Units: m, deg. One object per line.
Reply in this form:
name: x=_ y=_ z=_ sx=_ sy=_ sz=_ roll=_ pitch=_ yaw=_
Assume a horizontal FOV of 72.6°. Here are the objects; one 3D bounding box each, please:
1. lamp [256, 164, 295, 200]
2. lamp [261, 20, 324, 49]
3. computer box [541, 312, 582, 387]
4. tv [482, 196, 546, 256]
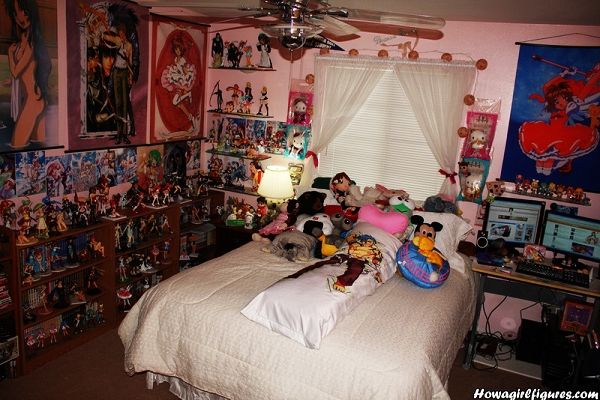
lamp: x=-0.323 y=-0.253 z=5.458 sx=0.463 sy=0.453 sz=0.454 roll=0 pitch=3 yaw=-27
lamp: x=-0.062 y=-1.236 z=3.013 sx=0.435 sy=0.178 sz=0.240 roll=3 pitch=11 yaw=-3
computer box: x=2.832 y=1.643 z=4.443 sx=0.336 sy=0.683 sz=0.484 roll=11 pitch=14 yaw=33
tv: x=2.489 y=0.304 z=4.722 sx=0.651 sy=0.663 sz=0.053 roll=5 pitch=6 yaw=12
